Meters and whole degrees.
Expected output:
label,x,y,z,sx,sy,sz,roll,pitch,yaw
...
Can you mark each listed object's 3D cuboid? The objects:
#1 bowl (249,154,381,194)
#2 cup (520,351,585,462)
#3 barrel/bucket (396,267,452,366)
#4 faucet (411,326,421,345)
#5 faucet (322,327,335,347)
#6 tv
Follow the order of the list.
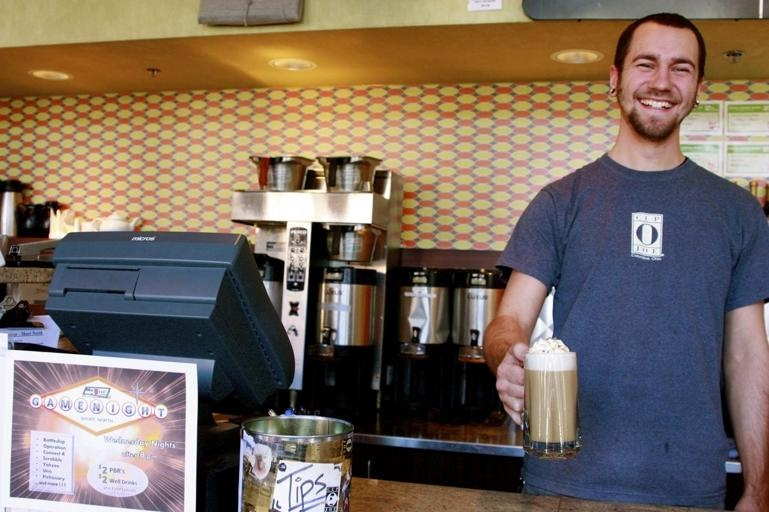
label,x,y,z,sx,sy,sz,roll,pitch,yaw
bowl,-0.390,-0.444,4.002,0.718,0.211,0.232,0,-1,-2
cup,0.388,0.353,1.698,0.129,0.269,0.110,0,-1,-43
barrel/bucket,0.206,0.292,3.920,0.378,0.466,0.466,1,-3,11
faucet,0.165,0.421,3.884,0.048,0.089,0.030,0,0,0
faucet,-0.298,0.421,3.809,0.057,0.102,0.026,0,0,21
tv,-0.421,0.079,1.749,0.611,0.428,0.416,4,8,18
